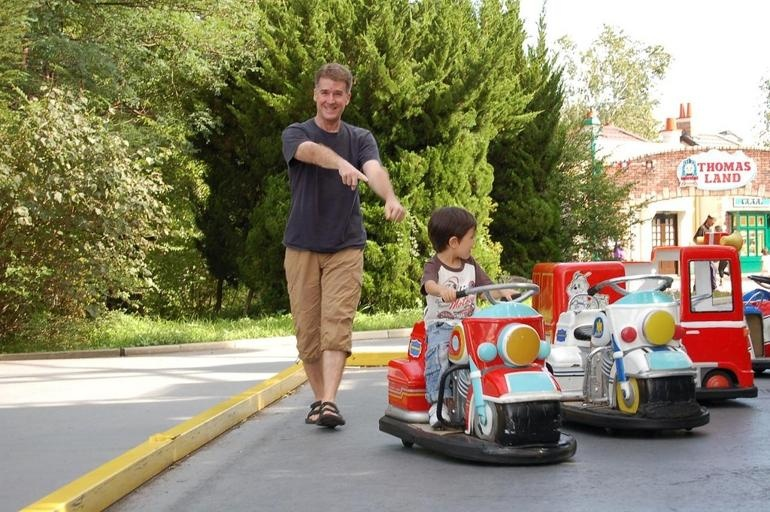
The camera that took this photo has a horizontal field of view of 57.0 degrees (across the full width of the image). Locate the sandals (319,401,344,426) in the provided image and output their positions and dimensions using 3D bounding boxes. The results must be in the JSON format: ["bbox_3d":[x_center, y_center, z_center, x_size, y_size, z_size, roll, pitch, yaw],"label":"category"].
[{"bbox_3d":[-0.527,1.514,6.794,0.238,0.259,0.141,-1,-2,-3],"label":"sandals"}]

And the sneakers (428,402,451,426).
[{"bbox_3d":[0.453,1.331,5.941,0.133,0.200,0.223,0,-3,-22],"label":"sneakers"}]
